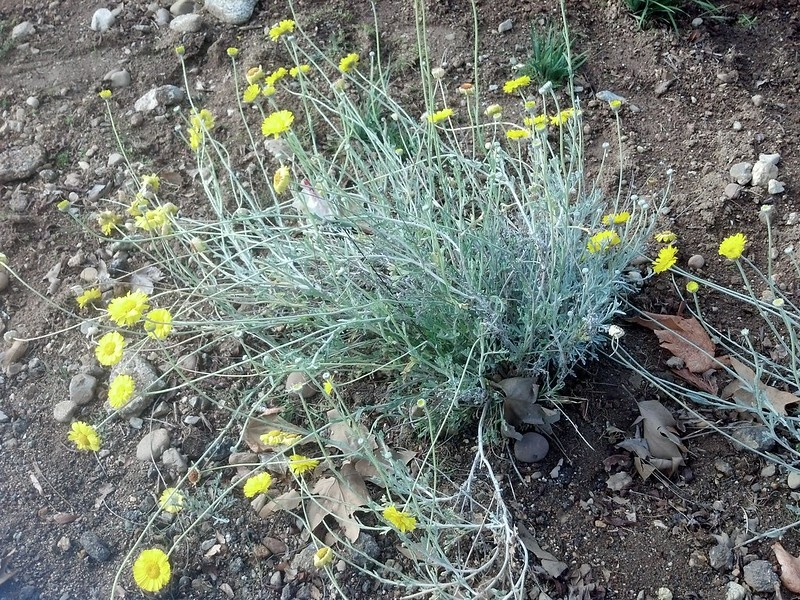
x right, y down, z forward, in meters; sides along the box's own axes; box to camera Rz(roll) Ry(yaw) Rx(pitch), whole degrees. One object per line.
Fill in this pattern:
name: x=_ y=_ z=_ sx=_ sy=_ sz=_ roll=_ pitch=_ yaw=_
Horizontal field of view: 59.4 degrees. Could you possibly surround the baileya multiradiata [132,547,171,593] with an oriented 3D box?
baileya multiradiata: x=-0.870 y=0.953 z=2.475 sx=0.111 sy=0.125 sz=0.122 roll=4 pitch=51 yaw=26
